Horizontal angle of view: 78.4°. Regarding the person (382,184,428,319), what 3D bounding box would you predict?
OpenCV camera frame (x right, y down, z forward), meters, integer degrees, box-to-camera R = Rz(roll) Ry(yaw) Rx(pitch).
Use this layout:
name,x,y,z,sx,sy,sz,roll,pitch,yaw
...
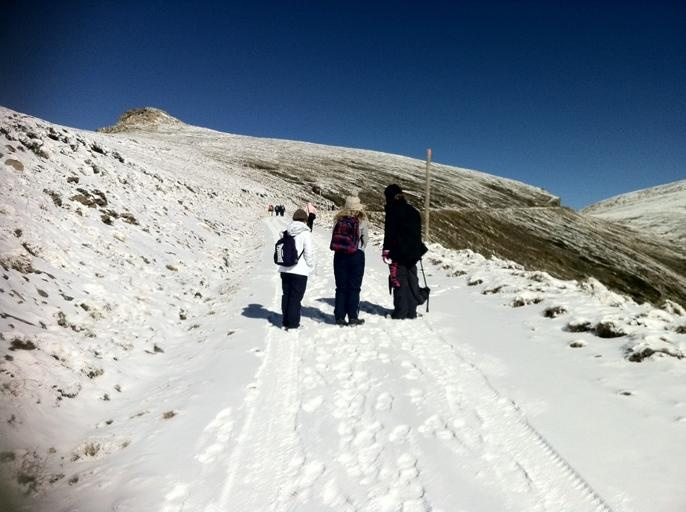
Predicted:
name,x,y,z,sx,sy,sz,roll,pitch,yaw
person,1.226,-0.069,8.518,0.856,2.708,0.738,-4,10,7

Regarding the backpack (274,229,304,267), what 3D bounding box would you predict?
name,x,y,z,sx,sy,sz,roll,pitch,yaw
backpack,-1.047,-0.110,8.131,0.570,0.674,0.261,-4,10,4

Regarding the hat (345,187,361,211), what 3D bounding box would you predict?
name,x,y,z,sx,sy,sz,roll,pitch,yaw
hat,0.171,-1.138,8.619,0.476,0.457,0.443,5,9,29

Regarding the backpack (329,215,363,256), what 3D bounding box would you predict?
name,x,y,z,sx,sy,sz,roll,pitch,yaw
backpack,0.047,-0.400,8.143,0.598,0.739,0.382,-5,9,2
